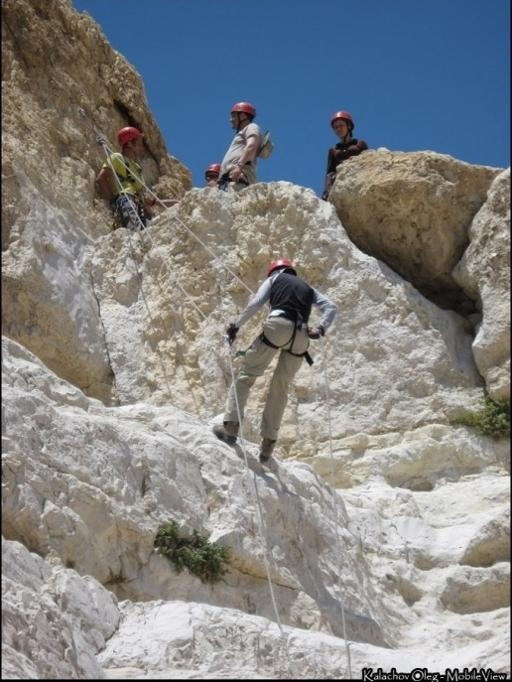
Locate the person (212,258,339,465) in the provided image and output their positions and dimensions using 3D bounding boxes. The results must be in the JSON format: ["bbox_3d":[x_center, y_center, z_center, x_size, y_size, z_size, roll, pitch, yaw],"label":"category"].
[{"bbox_3d":[0.150,0.131,13.937,1.076,1.948,0.568,1,-10,3],"label":"person"}]

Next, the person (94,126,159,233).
[{"bbox_3d":[-1.554,-1.785,17.656,0.666,1.463,1.829,2,-11,-5],"label":"person"}]

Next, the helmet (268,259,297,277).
[{"bbox_3d":[0.250,-0.714,14.325,0.203,0.109,0.157,2,-14,-26],"label":"helmet"}]

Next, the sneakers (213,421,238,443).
[{"bbox_3d":[-0.296,0.831,13.817,0.224,0.218,0.171,2,-11,-4],"label":"sneakers"}]

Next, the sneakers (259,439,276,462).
[{"bbox_3d":[0.072,0.975,13.812,0.114,0.209,0.212,10,-16,2],"label":"sneakers"}]

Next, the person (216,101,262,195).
[{"bbox_3d":[-0.208,-2.262,17.738,0.475,1.154,0.846,2,-11,-5],"label":"person"}]

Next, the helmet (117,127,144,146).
[{"bbox_3d":[-1.508,-2.401,17.770,0.260,0.213,0.196,-30,28,-34],"label":"helmet"}]
